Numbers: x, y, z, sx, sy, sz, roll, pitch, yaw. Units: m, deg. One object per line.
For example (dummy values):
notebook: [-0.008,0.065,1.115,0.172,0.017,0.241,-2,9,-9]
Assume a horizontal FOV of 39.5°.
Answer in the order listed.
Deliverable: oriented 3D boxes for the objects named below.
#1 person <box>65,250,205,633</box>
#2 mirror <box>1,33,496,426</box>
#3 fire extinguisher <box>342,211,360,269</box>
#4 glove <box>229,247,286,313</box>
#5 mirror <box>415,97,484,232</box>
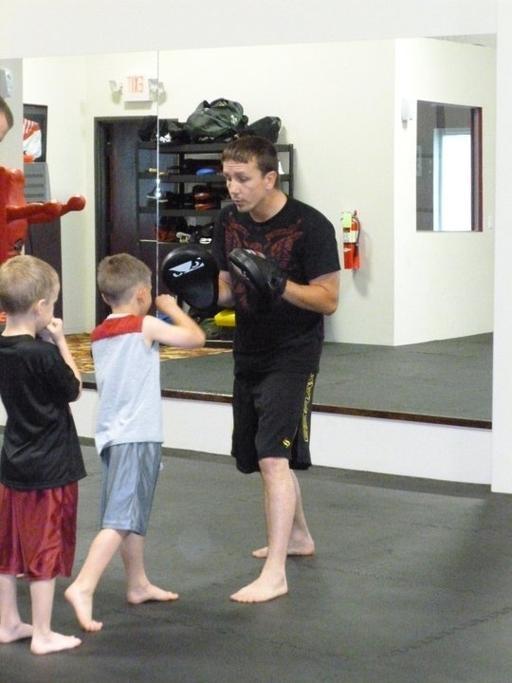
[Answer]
person: [-0.313,0.256,1.882,0.331,0.848,0.215,1,0,-4]
mirror: [0.098,-0.602,3.377,2.538,1.578,0.047,4,9,33]
fire extinguisher: [0.523,-0.549,3.890,0.098,0.307,0.092,1,0,13]
glove: [0.009,-0.182,2.025,0.165,0.152,0.148,1,1,-3]
mirror: [0.974,-0.889,3.579,0.370,0.661,0.078,2,1,45]
